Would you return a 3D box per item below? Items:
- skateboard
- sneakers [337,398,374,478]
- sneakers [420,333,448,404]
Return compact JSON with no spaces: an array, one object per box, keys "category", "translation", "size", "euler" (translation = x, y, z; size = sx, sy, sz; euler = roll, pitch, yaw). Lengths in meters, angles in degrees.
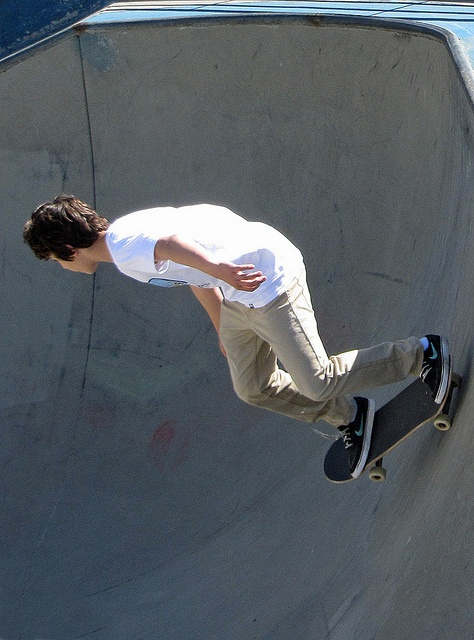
[{"category":"skateboard","translation":[0.927,0.633,4.963],"size":[0.218,0.335,1.220],"euler":[18,-41,-29]},{"category":"sneakers","translation":[0.726,0.687,5.106],"size":[0.239,0.488,0.172],"euler":[11,-3,-13]},{"category":"sneakers","translation":[1.095,0.235,4.674],"size":[0.186,0.408,0.142],"euler":[9,-32,2]}]
